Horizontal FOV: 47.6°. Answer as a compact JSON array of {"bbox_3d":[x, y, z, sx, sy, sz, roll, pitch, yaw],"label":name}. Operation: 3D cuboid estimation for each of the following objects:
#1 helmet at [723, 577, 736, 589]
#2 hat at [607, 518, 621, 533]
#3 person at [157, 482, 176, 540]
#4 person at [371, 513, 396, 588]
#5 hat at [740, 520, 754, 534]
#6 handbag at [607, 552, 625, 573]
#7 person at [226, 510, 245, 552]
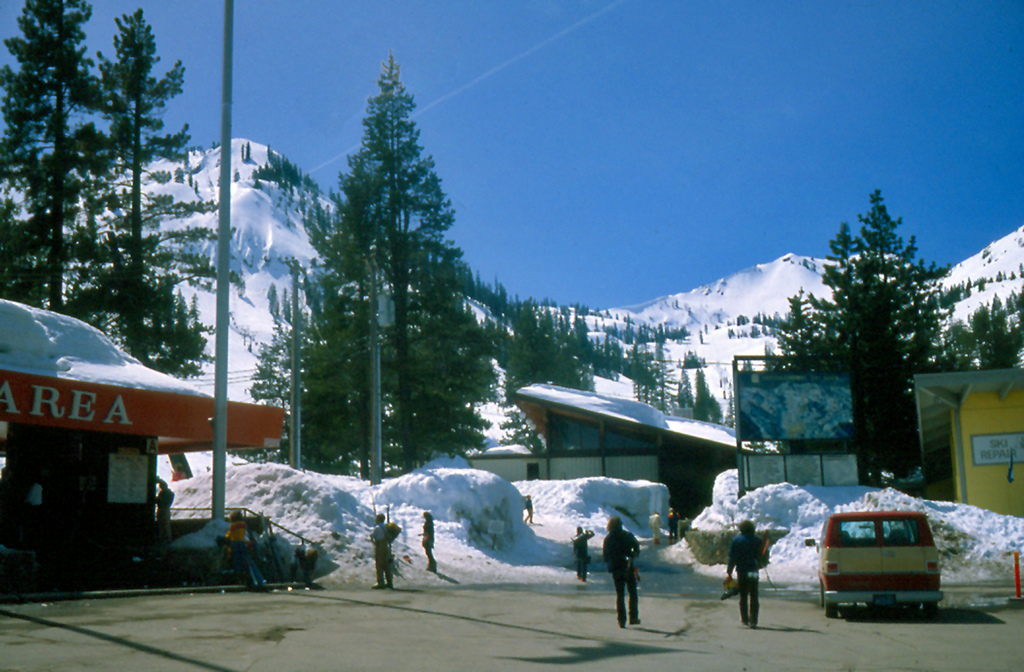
[{"bbox_3d":[6.086,6.887,32.445,0.333,0.322,0.420,-2,-9,11],"label":"helmet"},{"bbox_3d":[2.872,5.298,32.776,0.377,0.379,0.308,20,-31,18],"label":"hat"},{"bbox_3d":[-11.602,5.814,38.613,0.488,2.034,0.982,2,-8,-16],"label":"person"},{"bbox_3d":[-4.345,7.144,38.634,0.680,2.414,0.962,1,-8,-7],"label":"person"},{"bbox_3d":[6.613,5.383,32.744,0.329,0.278,0.351,-2,-4,16],"label":"hat"},{"bbox_3d":[2.952,6.365,32.571,0.397,0.598,0.207,-10,-13,16],"label":"handbag"},{"bbox_3d":[-8.809,6.149,37.028,0.654,1.070,0.828,2,-8,-15],"label":"person"}]
